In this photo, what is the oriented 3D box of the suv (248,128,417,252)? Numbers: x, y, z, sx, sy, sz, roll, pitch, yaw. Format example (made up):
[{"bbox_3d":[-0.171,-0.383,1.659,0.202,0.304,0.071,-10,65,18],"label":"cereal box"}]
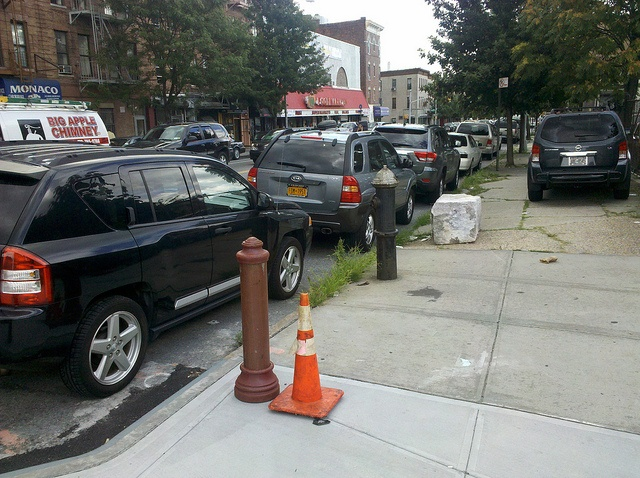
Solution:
[{"bbox_3d":[0.537,-1.151,9.569,1.693,1.510,3.180,5,17,27],"label":"suv"}]

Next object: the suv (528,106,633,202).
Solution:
[{"bbox_3d":[5.767,-1.931,11.274,1.371,1.393,2.582,0,17,19],"label":"suv"}]

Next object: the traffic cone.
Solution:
[{"bbox_3d":[-0.125,0.908,4.045,0.514,0.910,0.417,3,14,19],"label":"traffic cone"}]

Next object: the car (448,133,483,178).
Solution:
[{"bbox_3d":[5.831,-3.559,20.465,1.081,0.989,2.552,4,20,27],"label":"car"}]

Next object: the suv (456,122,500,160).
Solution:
[{"bbox_3d":[8.498,-5.398,27.547,1.690,1.776,3.676,3,18,23],"label":"suv"}]

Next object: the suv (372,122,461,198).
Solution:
[{"bbox_3d":[2.924,-2.324,14.510,1.419,1.548,3.288,5,15,28],"label":"suv"}]
